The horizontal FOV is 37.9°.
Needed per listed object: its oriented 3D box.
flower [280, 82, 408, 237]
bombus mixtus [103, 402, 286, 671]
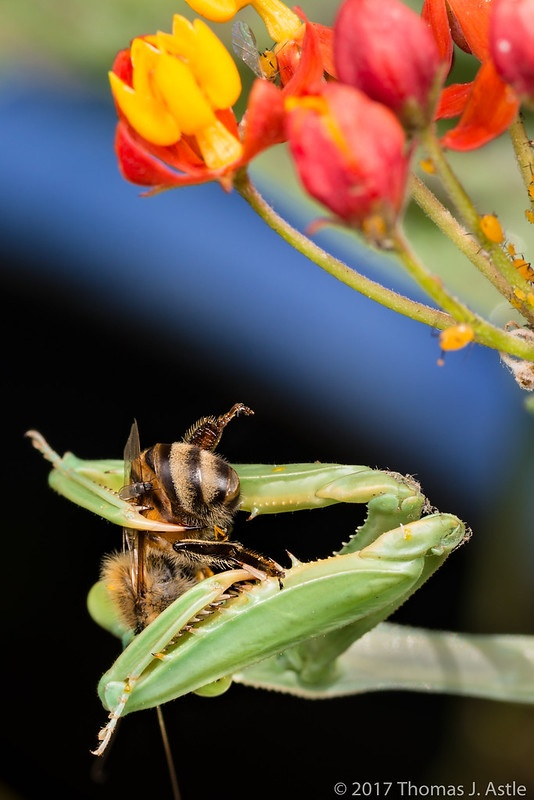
[{"bbox_3d":[0.030,-0.096,0.300,0.053,0.045,0.071,-2,84,8],"label":"flower"},{"bbox_3d":[-0.065,0.095,0.570,0.170,0.159,0.057,-1,-3,44],"label":"bombus mixtus"}]
